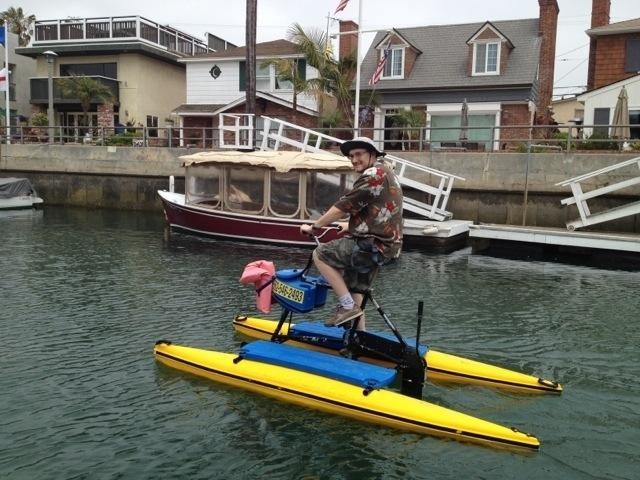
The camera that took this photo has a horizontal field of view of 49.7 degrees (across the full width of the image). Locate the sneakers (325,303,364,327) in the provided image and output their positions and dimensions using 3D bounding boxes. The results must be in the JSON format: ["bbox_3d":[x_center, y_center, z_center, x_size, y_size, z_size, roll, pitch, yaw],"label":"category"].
[{"bbox_3d":[0.347,0.999,9.381,0.641,0.239,0.208,-22,-5,0],"label":"sneakers"}]
